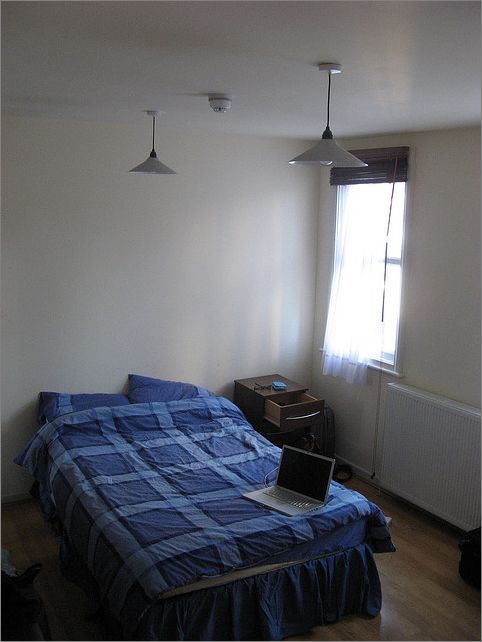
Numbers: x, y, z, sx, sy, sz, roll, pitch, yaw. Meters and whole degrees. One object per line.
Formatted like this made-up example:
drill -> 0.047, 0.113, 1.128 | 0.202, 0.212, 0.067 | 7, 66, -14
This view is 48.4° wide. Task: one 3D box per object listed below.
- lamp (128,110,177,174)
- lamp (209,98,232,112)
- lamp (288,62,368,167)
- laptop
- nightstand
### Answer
lamp -> -0.512, -1.061, 3.157 | 0.285, 0.350, 0.300 | -1, 15, -18
lamp -> -0.111, -1.103, 2.730 | 0.077, 0.050, 0.079 | 7, 19, 24
lamp -> 0.367, -0.862, 2.224 | 0.336, 0.367, 0.318 | -14, 23, -35
laptop -> 0.294, 0.859, 2.848 | 0.322, 0.229, 0.336 | 1, 3, -37
nightstand -> 0.296, 0.767, 4.373 | 0.436, 0.481, 0.681 | -5, 12, -32
